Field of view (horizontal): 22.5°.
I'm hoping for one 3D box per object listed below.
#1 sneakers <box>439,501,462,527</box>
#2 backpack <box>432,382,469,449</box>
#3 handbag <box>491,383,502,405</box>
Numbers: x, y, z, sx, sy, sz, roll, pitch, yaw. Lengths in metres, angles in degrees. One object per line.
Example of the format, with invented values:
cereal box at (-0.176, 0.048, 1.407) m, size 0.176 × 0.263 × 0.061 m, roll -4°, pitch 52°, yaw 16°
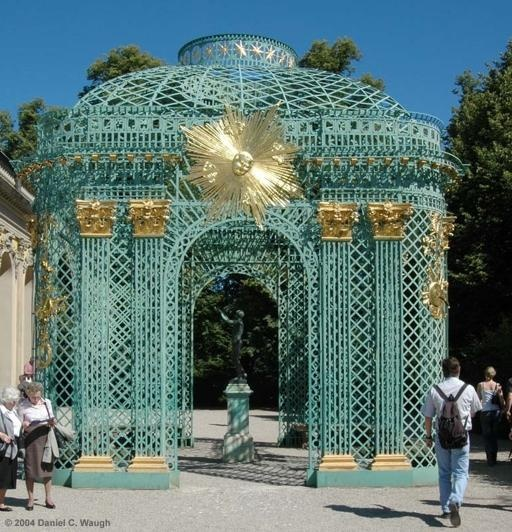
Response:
sneakers at (2.626, 3.319, 17.069) m, size 0.197 × 0.394 × 0.175 m, roll -5°, pitch 29°, yaw 17°
backpack at (2.625, 2.012, 17.190) m, size 0.433 × 0.859 × 0.230 m, roll -1°, pitch -12°, yaw 11°
handbag at (4.159, 2.181, 21.933) m, size 0.120 × 0.292 × 0.231 m, roll 4°, pitch 1°, yaw 15°
